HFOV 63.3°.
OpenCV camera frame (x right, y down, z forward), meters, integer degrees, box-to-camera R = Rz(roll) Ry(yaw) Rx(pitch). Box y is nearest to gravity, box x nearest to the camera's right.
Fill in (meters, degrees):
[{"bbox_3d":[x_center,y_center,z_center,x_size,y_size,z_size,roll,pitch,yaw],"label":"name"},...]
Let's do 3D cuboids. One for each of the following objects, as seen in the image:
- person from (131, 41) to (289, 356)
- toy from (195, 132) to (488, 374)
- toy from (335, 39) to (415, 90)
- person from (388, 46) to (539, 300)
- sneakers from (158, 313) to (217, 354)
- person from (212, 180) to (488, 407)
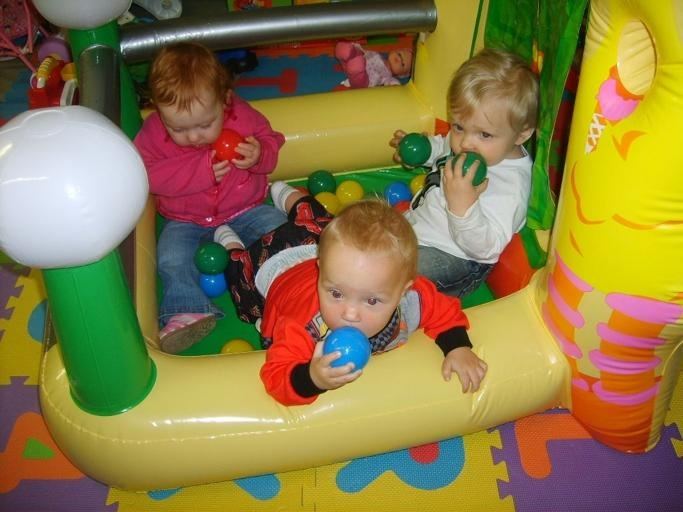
[{"bbox_3d":[-0.474,-0.293,2.297,0.636,0.994,0.929,-7,43,-15],"label":"person"},{"bbox_3d":[-0.100,-0.054,1.933,0.633,0.366,0.856,-24,34,-30],"label":"toy"},{"bbox_3d":[0.232,-1.172,3.579,0.498,0.319,0.227,-6,40,28],"label":"toy"},{"bbox_3d":[0.492,-0.310,2.134,0.598,0.803,0.639,-13,53,-4],"label":"person"},{"bbox_3d":[-0.599,0.289,2.191,0.234,0.122,0.116,-17,35,-36],"label":"sneakers"},{"bbox_3d":[-0.034,0.002,1.836,0.466,0.528,0.907,-13,48,-18],"label":"person"}]
